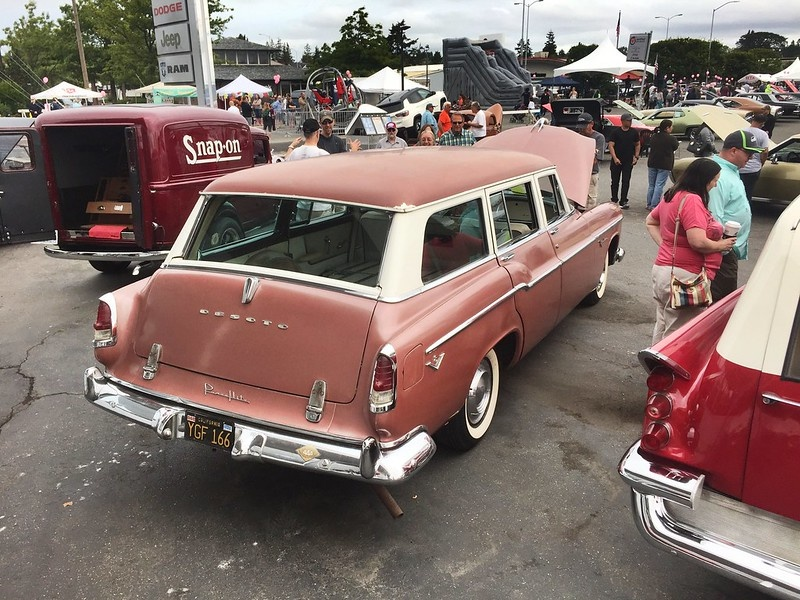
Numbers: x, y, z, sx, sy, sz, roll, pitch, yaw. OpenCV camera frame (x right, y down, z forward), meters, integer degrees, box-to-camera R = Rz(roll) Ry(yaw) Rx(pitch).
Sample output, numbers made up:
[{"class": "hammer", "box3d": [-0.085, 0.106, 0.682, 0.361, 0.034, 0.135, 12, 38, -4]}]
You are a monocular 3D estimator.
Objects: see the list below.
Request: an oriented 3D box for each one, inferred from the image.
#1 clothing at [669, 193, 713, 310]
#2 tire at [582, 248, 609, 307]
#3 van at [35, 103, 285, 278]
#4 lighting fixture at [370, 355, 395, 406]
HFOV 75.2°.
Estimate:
[{"class": "clothing", "box3d": [2.525, -0.382, 4.554, 0.334, 0.958, 0.137, -7, 16, 20]}, {"class": "tire", "box3d": [2.414, -0.280, 6.486, 0.211, 0.657, 0.615, 6, 12, 21]}, {"class": "van", "box3d": [-3.780, -1.913, 9.071, 2.176, 2.591, 4.539, 4, 15, 8]}, {"class": "lighting fixture", "box3d": [-0.111, 0.505, 3.264, 0.160, 0.313, 0.076, 0, 2, -7]}]
